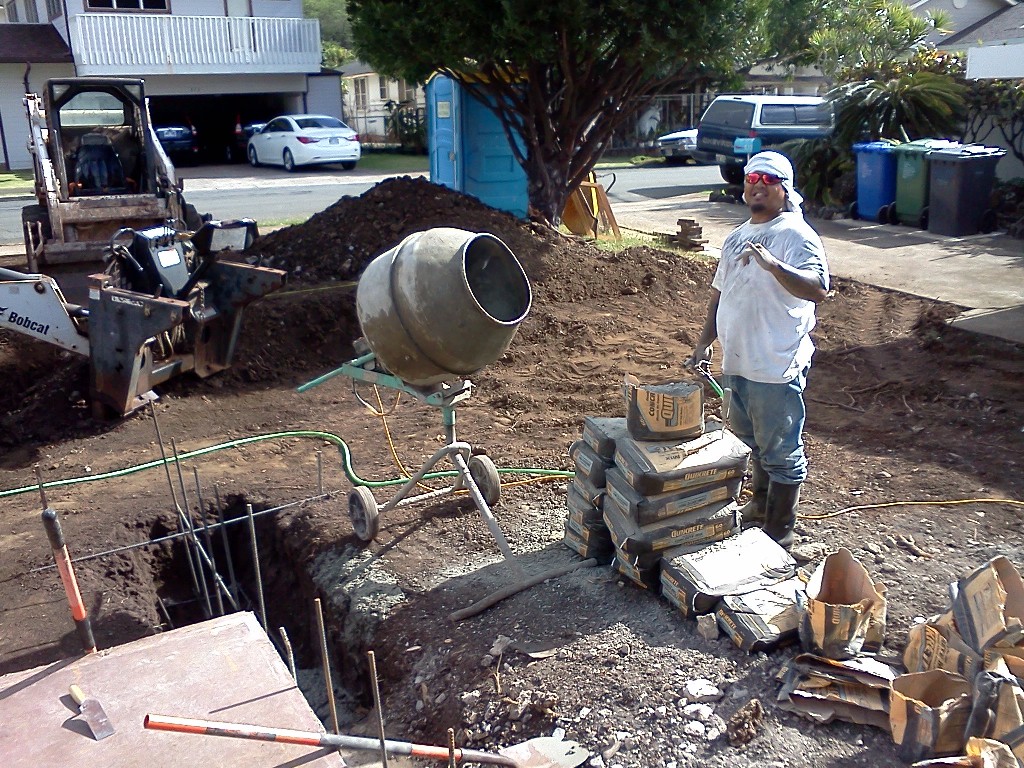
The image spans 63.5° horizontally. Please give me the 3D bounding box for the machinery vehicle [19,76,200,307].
[{"bbox_3d":[-5.562,-2.941,11.121,2.304,2.232,4.005,-7,35,-26],"label":"machinery vehicle"}]

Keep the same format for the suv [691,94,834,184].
[{"bbox_3d":[7.110,-6.331,21.268,4.635,1.991,2.375,-19,28,-20],"label":"suv"}]

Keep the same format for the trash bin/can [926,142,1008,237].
[{"bbox_3d":[7.627,-3.271,14.053,1.071,1.475,0.886,5,19,28],"label":"trash bin/can"}]

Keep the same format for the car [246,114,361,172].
[{"bbox_3d":[-6.690,-7.789,26.554,2.430,1.842,4.832,-17,21,-39],"label":"car"}]

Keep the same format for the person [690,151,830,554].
[{"bbox_3d":[1.602,-0.180,5.292,0.743,2.504,0.730,0,17,12],"label":"person"}]

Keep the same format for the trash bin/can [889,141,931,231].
[{"bbox_3d":[7.136,-3.544,14.809,0.532,1.494,1.037,-3,17,4],"label":"trash bin/can"}]
